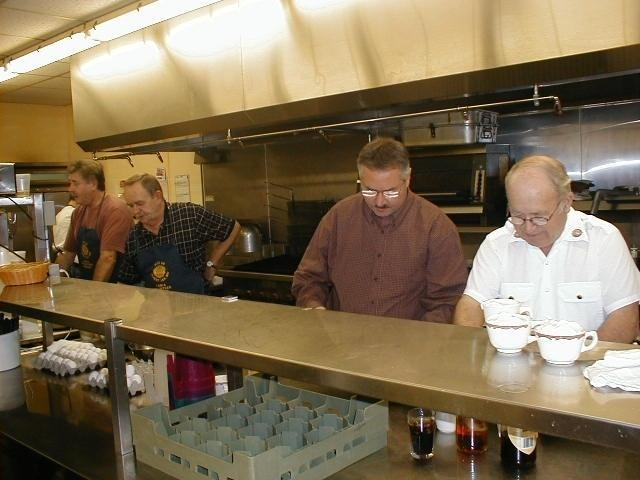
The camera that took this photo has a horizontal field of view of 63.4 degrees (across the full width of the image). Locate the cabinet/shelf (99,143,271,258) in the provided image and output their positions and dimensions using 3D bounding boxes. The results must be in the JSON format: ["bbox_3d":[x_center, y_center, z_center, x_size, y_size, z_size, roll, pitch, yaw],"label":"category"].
[{"bbox_3d":[-1.120,-0.357,4.616,0.980,0.926,0.758,-16,-31,9],"label":"cabinet/shelf"}]

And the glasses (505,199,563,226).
[{"bbox_3d":[0.815,-0.095,1.959,0.181,0.078,0.106,0,15,24],"label":"glasses"}]

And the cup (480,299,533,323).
[{"bbox_3d":[0.524,0.192,1.461,0.115,0.069,0.075,0,-2,-16],"label":"cup"}]

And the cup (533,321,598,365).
[{"bbox_3d":[0.621,0.248,1.304,0.145,0.092,0.115,1,2,15],"label":"cup"}]

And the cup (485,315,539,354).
[{"bbox_3d":[0.484,0.238,1.322,0.083,0.060,0.126,-5,-6,44],"label":"cup"}]

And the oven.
[{"bbox_3d":[0.987,-0.397,3.804,0.890,0.641,0.554,2,2,41],"label":"oven"}]

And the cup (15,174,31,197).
[{"bbox_3d":[-1.916,-0.355,3.364,0.104,0.138,0.127,-19,18,-41],"label":"cup"}]
